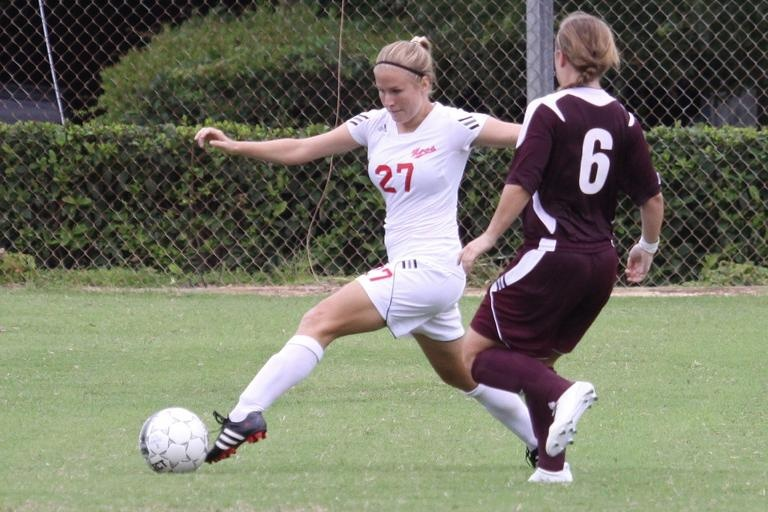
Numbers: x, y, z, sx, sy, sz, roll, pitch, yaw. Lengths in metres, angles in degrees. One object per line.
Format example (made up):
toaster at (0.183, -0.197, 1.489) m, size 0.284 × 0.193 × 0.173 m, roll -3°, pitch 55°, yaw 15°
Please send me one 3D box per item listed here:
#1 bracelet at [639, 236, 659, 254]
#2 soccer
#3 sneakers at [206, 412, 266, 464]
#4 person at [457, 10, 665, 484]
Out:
bracelet at (1.538, -0.062, 5.203) m, size 0.069 × 0.084 × 0.065 m, roll 32°, pitch 61°, yaw 23°
soccer at (-1.158, 1.042, 5.005) m, size 0.356 × 0.350 × 0.335 m, roll 1°, pitch -23°, yaw -4°
sneakers at (-0.824, 1.027, 4.986) m, size 0.369 × 0.206 × 0.134 m, roll -34°, pitch 6°, yaw 13°
person at (1.007, -0.051, 4.977) m, size 1.054 × 2.476 × 0.605 m, roll -12°, pitch 19°, yaw -38°
